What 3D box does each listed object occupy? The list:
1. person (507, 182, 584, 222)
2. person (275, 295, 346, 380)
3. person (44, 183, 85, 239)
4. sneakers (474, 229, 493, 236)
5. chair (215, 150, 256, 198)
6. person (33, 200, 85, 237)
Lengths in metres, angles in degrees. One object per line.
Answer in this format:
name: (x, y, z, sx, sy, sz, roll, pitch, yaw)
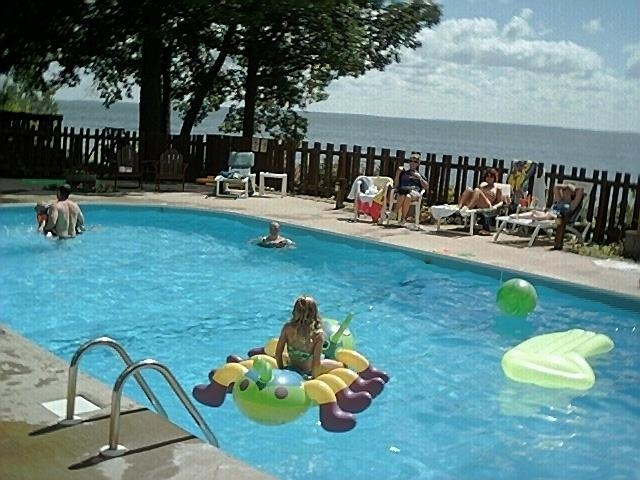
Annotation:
person: (5.421, -0.875, 12.105, 1.596, 0.830, 0.879, -2, 13, -9)
person: (-0.134, 1.101, 5.863, 0.820, 0.928, 0.597, 11, 10, 24)
person: (-5.611, -0.615, 11.316, 0.798, 1.198, 0.771, 0, 12, -39)
sneakers: (4.205, -0.193, 13.203, 0.181, 0.129, 0.359, -3, 3, -28)
chair: (-2.845, -2.241, 17.599, 1.126, 1.317, 1.500, 5, 13, 7)
person: (-5.933, -0.503, 11.581, 0.766, 0.742, 0.973, 8, 12, 21)
